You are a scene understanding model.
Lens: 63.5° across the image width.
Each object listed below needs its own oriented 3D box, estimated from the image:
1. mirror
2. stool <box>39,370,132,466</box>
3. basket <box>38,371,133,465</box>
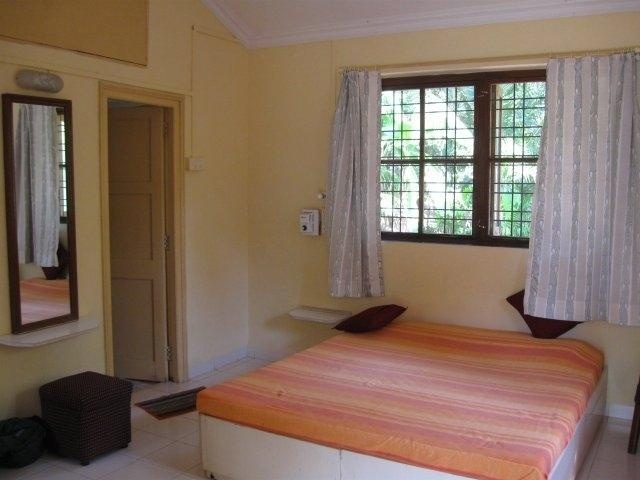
[{"bbox_3d":[-2.152,-0.200,4.003,0.177,1.785,0.646,3,11,27],"label":"mirror"},{"bbox_3d":[-1.774,1.304,4.069,0.572,0.608,0.592,1,1,30],"label":"stool"},{"bbox_3d":[-1.809,1.336,4.040,0.594,0.609,0.604,2,4,8],"label":"basket"}]
